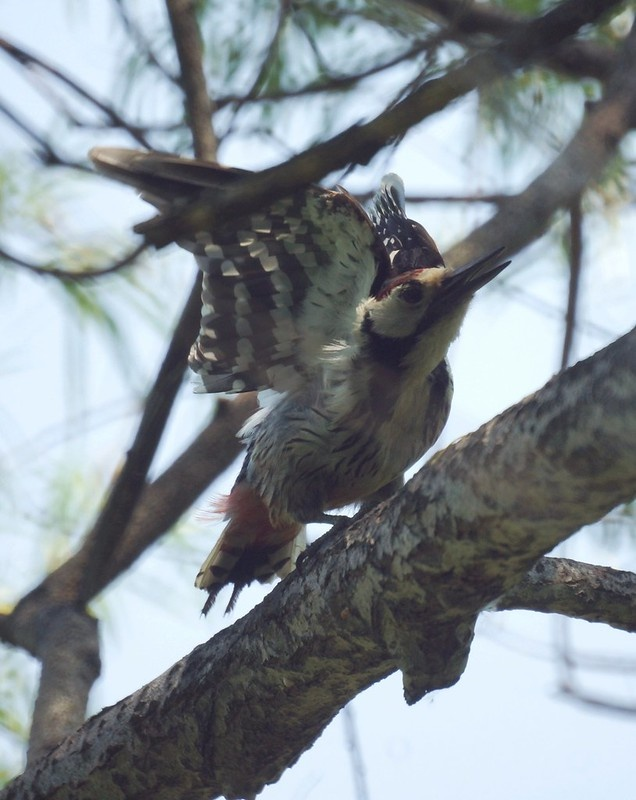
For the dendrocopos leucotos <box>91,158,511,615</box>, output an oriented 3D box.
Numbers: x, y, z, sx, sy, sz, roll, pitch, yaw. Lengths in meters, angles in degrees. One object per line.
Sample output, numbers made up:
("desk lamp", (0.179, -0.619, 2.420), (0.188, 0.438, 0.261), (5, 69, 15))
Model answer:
("dendrocopos leucotos", (0.078, -0.085, 5.174), (1.089, 1.129, 1.058), (-16, -108, 22))
